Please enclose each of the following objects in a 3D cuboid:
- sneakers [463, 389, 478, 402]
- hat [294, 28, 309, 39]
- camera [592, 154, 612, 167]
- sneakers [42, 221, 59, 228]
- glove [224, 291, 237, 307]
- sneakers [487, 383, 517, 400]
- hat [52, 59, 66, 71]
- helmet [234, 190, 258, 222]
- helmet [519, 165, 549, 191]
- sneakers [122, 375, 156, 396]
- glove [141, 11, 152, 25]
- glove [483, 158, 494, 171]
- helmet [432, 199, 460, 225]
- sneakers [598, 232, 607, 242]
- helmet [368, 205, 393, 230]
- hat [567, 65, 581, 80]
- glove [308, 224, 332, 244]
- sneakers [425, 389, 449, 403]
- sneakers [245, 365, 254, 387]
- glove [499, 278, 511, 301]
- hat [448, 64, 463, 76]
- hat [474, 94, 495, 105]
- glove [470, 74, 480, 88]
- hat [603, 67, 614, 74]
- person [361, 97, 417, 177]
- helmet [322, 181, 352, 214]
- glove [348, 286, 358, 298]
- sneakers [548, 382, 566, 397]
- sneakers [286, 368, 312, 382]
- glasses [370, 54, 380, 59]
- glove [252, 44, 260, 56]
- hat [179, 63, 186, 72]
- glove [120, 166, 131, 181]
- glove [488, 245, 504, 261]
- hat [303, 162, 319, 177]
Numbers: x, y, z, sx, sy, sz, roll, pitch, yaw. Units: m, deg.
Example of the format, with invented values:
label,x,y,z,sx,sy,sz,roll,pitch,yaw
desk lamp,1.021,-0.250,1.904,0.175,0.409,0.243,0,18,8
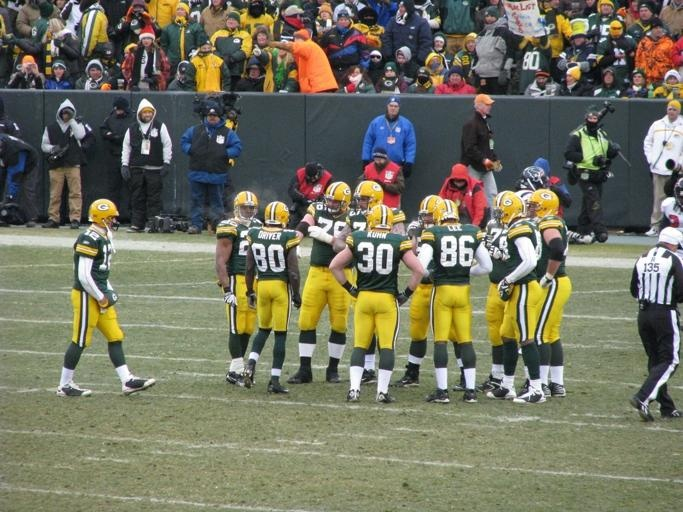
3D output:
label,x,y,z,sx,sy,sz,roll,pitch,yaw
sneakers,1.772,1.912,18.225,0.099,0.113,0.239,1,4,-2
hat,-0.799,-4.594,27.715,0.310,0.272,0.731,2,4,-1
camera,5.079,-1.861,26.094,0.295,0.229,0.186,2,8,-6
sneakers,-6.150,-0.684,28.377,0.340,0.177,0.147,4,50,1
glove,-1.540,0.597,18.796,0.188,0.186,0.188,3,4,2
sneakers,2.202,1.887,18.560,0.455,0.247,0.163,2,-2,0
hat,-6.066,-4.157,28.915,0.216,0.209,0.262,6,-6,-20
helmet,-1.339,-0.699,18.960,0.298,0.416,0.416,2,4,-8
helmet,2.894,-1.183,19.874,0.403,0.390,0.315,-19,24,-17
sneakers,-2.685,1.748,18.237,0.524,0.272,0.202,-12,47,7
glove,-4.171,-5.118,28.821,0.210,0.290,0.109,-2,8,17
glove,2.861,-1.760,25.789,0.164,0.200,0.219,7,5,13
helmet,1.450,-0.642,18.572,0.269,0.331,0.375,-4,23,-12
sneakers,5.233,-0.382,26.709,0.168,0.238,0.126,4,-2,-17
helmet,0.547,-0.540,18.310,0.266,0.299,0.356,-2,17,-8
hat,4.797,-3.734,27.383,0.276,0.248,0.216,10,43,19
glove,-0.298,-0.282,18.685,0.318,0.204,0.119,25,-44,-24
sneakers,1.344,1.901,18.315,0.372,0.204,0.142,3,7,14
sneakers,-1.271,1.686,18.689,0.105,0.332,0.218,3,0,0
glove,2.231,0.473,18.159,0.167,0.247,0.135,2,3,39
hat,2.399,-3.857,27.823,0.297,0.231,0.339,3,4,2
hat,2.748,-2.969,25.421,0.362,0.197,0.257,2,18,2
glove,2.874,-3.725,28.514,0.093,0.277,0.188,-8,5,-44
hat,5.476,-3.795,27.297,0.198,0.129,0.282,3,4,9
person,0.992,-2.117,26.959,0.986,2.300,0.601,5,32,5
helmet,-0.045,-0.892,19.233,0.335,0.375,0.455,16,47,16
glove,0.173,0.496,18.396,0.129,0.166,0.291,2,4,0
sneakers,3.009,1.839,18.520,0.260,0.186,0.161,3,4,9
sneakers,-0.571,1.691,18.982,0.317,0.186,0.170,2,-1,-2
glasses,0.743,-4.215,28.078,0.229,0.152,0.270,2,4,0
glove,-1.744,-4.313,28.062,0.151,0.221,0.280,2,4,-8
hat,-3.317,-3.999,28.216,0.120,0.219,0.348,1,4,-18
glove,-4.417,-1.693,27.526,0.162,0.319,0.398,2,4,-11
glove,2.181,-0.043,18.740,0.123,0.084,0.213,18,13,-15
hat,-0.480,-1.474,22.457,0.191,0.257,0.235,8,-1,21
